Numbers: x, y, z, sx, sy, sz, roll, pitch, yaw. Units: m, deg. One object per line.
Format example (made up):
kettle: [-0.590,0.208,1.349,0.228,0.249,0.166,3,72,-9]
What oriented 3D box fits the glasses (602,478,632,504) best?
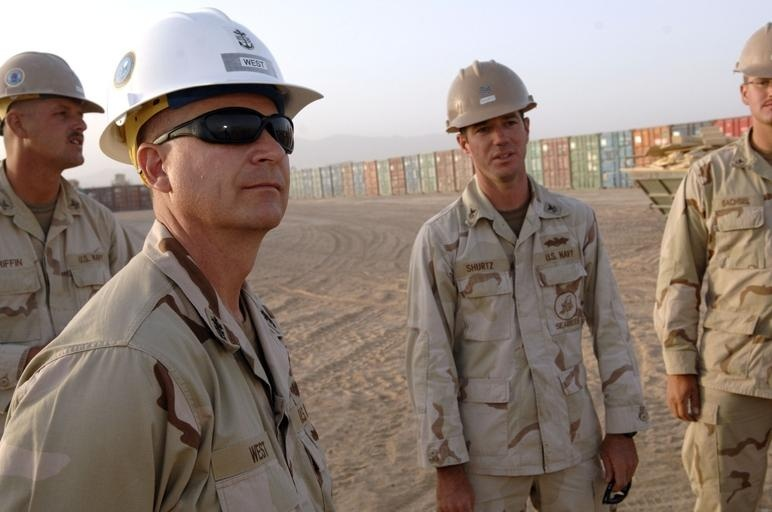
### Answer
glasses: [1.213,1.221,3.810,0.113,0.154,0.051,40,-2,-23]
